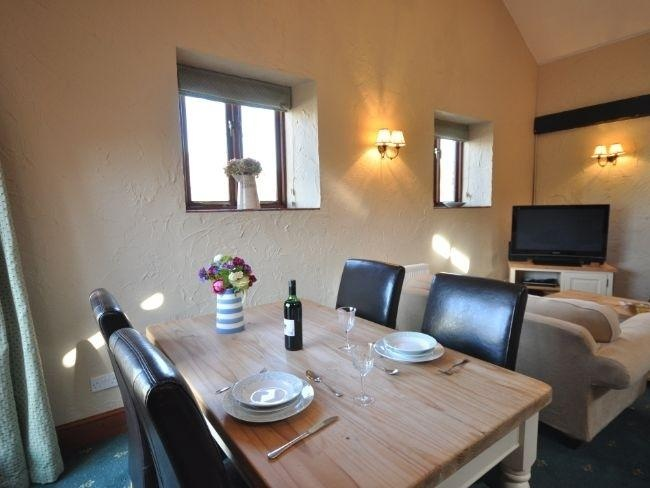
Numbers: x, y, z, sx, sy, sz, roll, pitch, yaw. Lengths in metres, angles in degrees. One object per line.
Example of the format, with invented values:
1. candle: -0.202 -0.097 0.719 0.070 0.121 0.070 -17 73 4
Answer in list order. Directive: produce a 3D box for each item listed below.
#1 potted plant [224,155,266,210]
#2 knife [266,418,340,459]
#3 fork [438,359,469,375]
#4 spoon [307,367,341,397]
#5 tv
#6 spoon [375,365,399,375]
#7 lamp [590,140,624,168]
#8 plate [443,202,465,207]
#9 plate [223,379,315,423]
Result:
1. potted plant: -0.631 -0.493 3.696 0.364 0.540 0.347 2 12 16
2. knife: -0.085 0.792 1.872 0.271 0.015 0.038 -18 29 -34
3. fork: 0.628 0.569 2.222 0.056 0.025 0.171 6 10 39
4. spoon: -0.008 0.639 2.127 0.058 0.046 0.302 -19 17 -18
5. tv: 2.674 -0.140 5.288 0.951 0.623 0.190 2 7 15
6. spoon: 0.298 0.596 2.228 0.035 0.028 0.148 -12 7 -30
7. lamp: 3.285 -1.039 5.371 0.326 0.253 0.235 5 8 38
8. plate: 1.451 -0.441 5.159 0.285 0.063 0.128 -2 6 -24
9. plate: -0.252 0.683 1.966 0.187 0.028 0.195 1 11 24
